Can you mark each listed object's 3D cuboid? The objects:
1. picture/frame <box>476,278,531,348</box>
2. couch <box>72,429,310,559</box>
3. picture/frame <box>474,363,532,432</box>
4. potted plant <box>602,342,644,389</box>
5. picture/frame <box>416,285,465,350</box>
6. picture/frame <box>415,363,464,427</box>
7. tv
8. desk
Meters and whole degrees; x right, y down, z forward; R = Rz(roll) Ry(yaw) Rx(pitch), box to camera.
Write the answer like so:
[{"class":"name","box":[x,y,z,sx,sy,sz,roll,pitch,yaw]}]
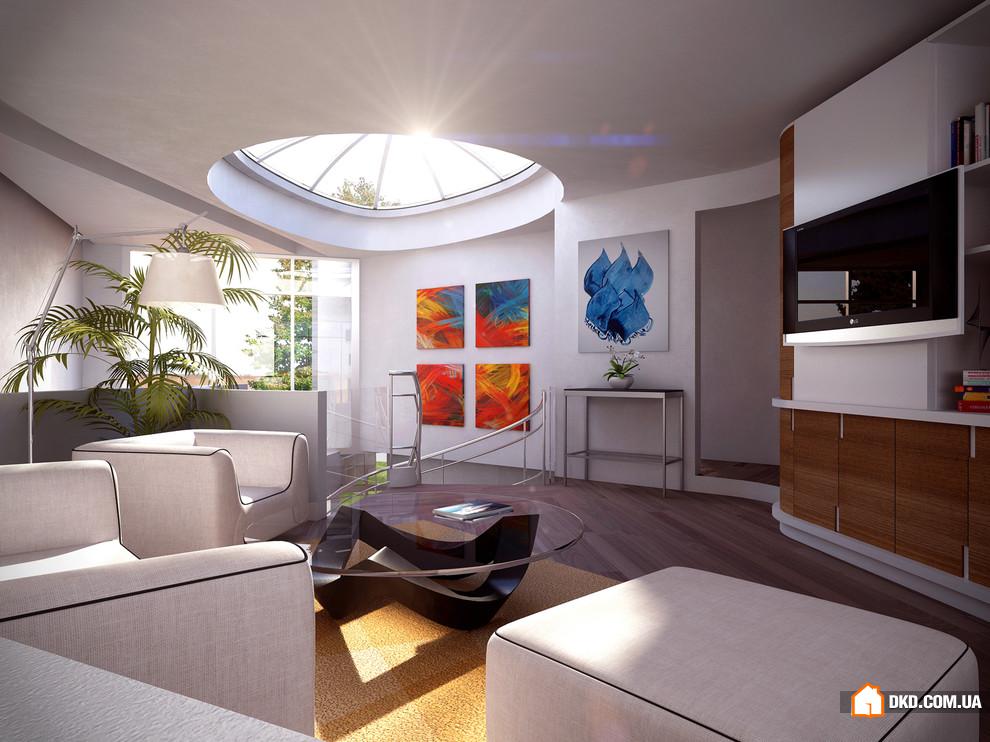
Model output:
[{"class":"picture/frame","box":[0.125,-0.673,7.425,0.770,0.960,0.031,1,0,36]},{"class":"couch","box":[-1.734,0.558,3.578,0.868,0.622,0.947,-1,-1,15]},{"class":"picture/frame","box":[0.120,0.327,7.406,0.750,0.965,0.062,0,-5,30]},{"class":"potted plant","box":[1.194,-0.041,5.815,0.354,0.398,0.375,0,-2,11]},{"class":"picture/frame","box":[-0.681,-0.668,7.939,0.763,0.960,0.093,1,2,37]},{"class":"picture/frame","box":[-0.665,0.334,7.664,0.736,0.921,0.085,0,2,37]},{"class":"tv","box":[2.119,-0.541,3.608,1.159,0.842,0.119,-9,10,-6]},{"class":"desk","box":[1.256,0.700,5.829,0.830,0.794,0.321,-1,-3,40]}]
